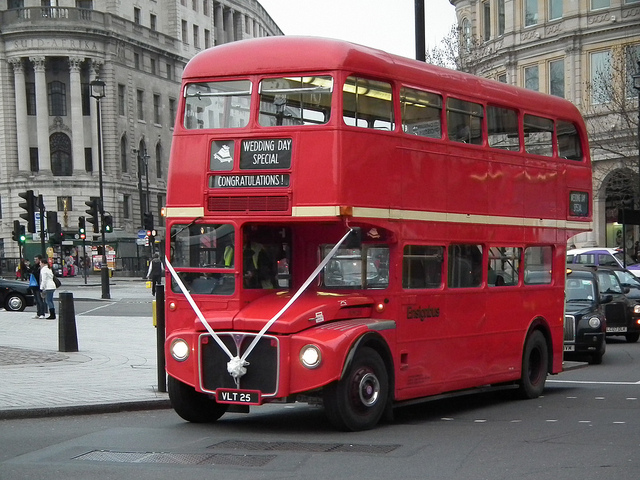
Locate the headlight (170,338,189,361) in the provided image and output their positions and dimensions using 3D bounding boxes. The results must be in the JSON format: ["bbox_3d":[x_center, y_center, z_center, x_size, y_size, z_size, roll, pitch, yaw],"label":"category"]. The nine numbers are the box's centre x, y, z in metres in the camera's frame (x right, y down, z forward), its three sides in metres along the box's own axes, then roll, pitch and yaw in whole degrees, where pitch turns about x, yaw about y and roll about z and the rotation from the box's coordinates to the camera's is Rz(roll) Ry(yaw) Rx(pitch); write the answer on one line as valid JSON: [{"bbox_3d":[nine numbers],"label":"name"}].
[{"bbox_3d":[-1.744,1.374,9.127,0.242,0.267,0.061,13,11,38],"label":"headlight"}]

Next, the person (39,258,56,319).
[{"bbox_3d":[-9.290,1.689,25.039,0.508,1.463,1.344,1,-1,-19],"label":"person"}]

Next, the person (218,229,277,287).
[{"bbox_3d":[-0.922,0.223,9.372,0.698,0.748,0.266,1,-1,-13],"label":"person"}]
